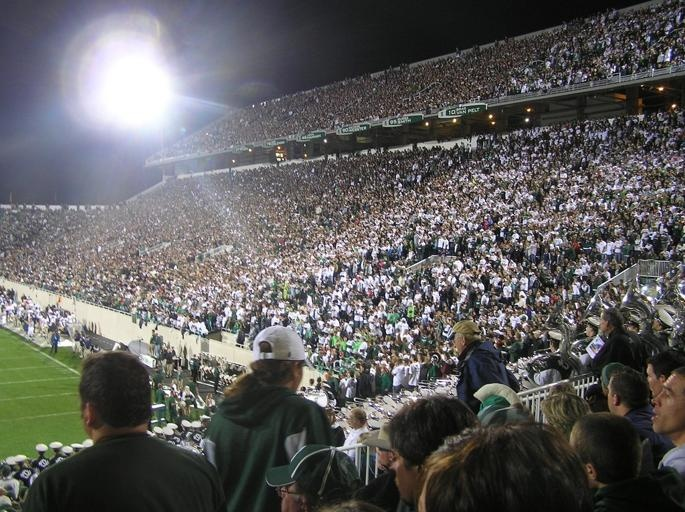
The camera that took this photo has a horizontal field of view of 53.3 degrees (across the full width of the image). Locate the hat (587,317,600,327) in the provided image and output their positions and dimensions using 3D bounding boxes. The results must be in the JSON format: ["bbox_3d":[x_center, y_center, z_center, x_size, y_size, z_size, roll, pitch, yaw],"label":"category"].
[{"bbox_3d":[3.862,1.028,10.555,0.110,0.114,0.363,-7,2,-6],"label":"hat"}]

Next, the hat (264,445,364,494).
[{"bbox_3d":[-0.268,1.767,5.741,0.574,0.361,0.397,3,-10,4],"label":"hat"}]

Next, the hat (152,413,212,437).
[{"bbox_3d":[-3.233,3.470,13.670,1.074,0.438,1.061,1,-5,-7],"label":"hat"}]

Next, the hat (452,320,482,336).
[{"bbox_3d":[1.450,0.844,7.970,0.223,0.126,0.175,9,-5,23],"label":"hat"}]

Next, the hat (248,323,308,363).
[{"bbox_3d":[-0.549,0.836,6.449,0.413,0.350,0.718,2,-10,7],"label":"hat"}]

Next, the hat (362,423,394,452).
[{"bbox_3d":[0.306,1.563,5.991,0.283,0.124,0.245,2,-14,25],"label":"hat"}]
